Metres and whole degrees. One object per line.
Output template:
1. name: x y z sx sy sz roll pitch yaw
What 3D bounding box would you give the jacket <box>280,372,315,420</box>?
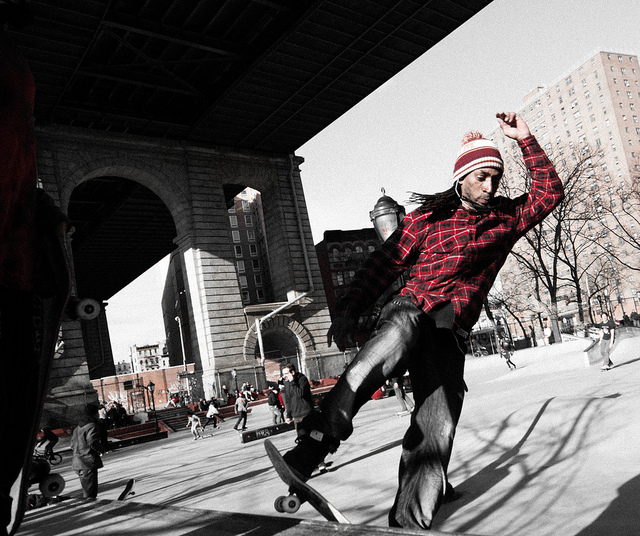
1. jacket: -0.473 2.598 8.880 0.549 0.918 0.747 -6 -12 -41

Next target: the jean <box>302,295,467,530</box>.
1. jean: 0.457 0.755 2.295 1.057 1.223 0.442 -3 -8 -34

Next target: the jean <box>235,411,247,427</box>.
1. jean: -3.350 6.318 18.076 0.439 0.797 1.057 -6 -8 -14

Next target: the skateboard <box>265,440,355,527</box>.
1. skateboard: -0.060 1.006 2.024 0.331 0.438 0.202 -5 -8 -27

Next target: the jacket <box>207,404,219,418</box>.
1. jacket: -5.536 7.202 21.894 0.483 0.704 1.166 -6 -8 -16

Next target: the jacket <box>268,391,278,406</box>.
1. jacket: -1.468 3.965 13.127 0.255 0.545 0.940 -7 -7 -7
